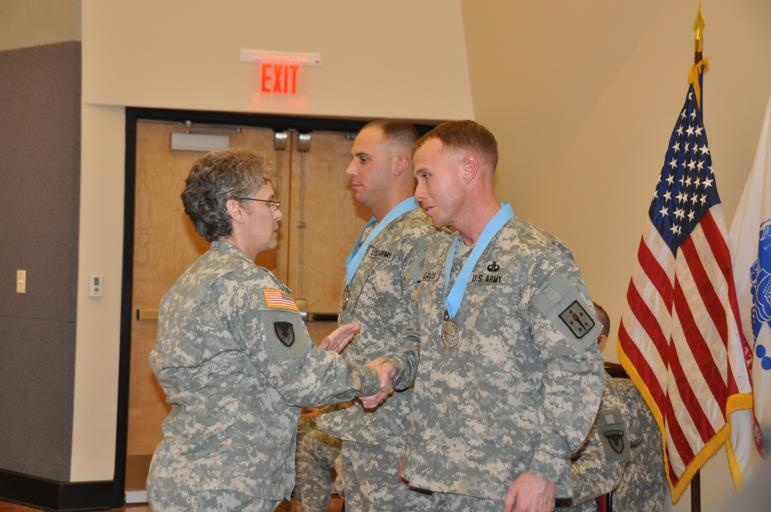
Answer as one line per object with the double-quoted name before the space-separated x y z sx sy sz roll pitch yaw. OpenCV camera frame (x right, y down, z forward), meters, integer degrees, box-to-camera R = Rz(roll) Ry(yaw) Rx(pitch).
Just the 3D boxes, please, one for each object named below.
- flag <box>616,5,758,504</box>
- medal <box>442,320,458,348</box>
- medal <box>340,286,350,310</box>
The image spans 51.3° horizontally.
"flag" 1.592 0.064 4.193 0.155 2.172 0.737 1 2 -40
"medal" 0.283 0.356 3.706 0.072 0.119 0.027 -2 -6 26
"medal" -0.225 0.227 4.390 0.030 0.104 0.075 7 3 -3
